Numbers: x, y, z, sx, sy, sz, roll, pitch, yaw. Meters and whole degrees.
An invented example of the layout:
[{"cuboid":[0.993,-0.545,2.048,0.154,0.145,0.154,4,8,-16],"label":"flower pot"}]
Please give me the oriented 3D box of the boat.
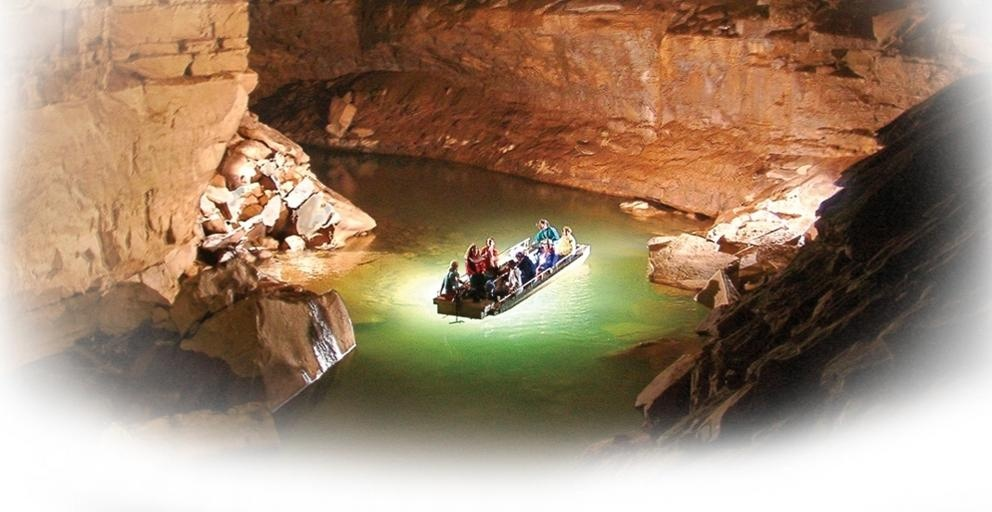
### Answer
[{"cuboid":[0.469,0.741,17.828,3.918,1.814,1.021,4,-6,-38],"label":"boat"}]
